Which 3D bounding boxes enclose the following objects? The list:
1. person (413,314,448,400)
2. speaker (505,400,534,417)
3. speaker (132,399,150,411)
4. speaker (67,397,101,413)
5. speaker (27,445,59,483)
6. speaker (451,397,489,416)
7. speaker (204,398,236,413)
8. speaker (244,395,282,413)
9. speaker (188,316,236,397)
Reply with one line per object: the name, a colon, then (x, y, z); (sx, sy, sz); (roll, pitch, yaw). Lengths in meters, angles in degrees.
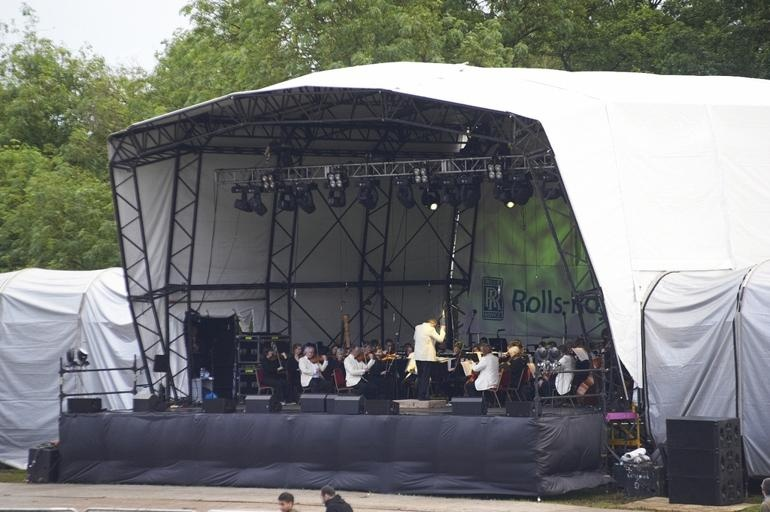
person: (1.572, 3.600, 58.840); (1.126, 2.952, 1.404); (2, -2, -32)
speaker: (4.443, 4.942, 54.246); (0.806, 0.455, 0.513); (1, 8, 11)
speaker: (-8.386, 5.095, 56.978); (0.485, 0.260, 0.443); (0, -4, -9)
speaker: (-10.482, 5.168, 57.683); (1.126, 0.502, 0.494); (2, -1, -10)
speaker: (-11.883, 7.266, 57.686); (1.390, 1.328, 1.183); (-1, 3, -34)
speaker: (2.839, 4.930, 54.580); (0.990, 0.501, 0.649); (-1, -2, 15)
speaker: (-5.672, 5.083, 56.484); (0.580, 0.357, 0.808); (-1, -3, 15)
speaker: (-4.086, 5.084, 56.276); (0.837, 0.423, 0.709); (-2, -12, 16)
speaker: (-6.562, 3.663, 62.286); (1.975, 3.191, 0.788); (2, -6, -36)
